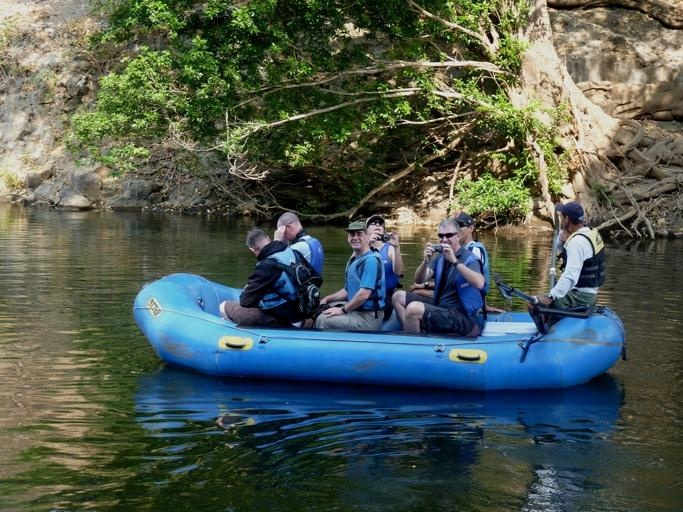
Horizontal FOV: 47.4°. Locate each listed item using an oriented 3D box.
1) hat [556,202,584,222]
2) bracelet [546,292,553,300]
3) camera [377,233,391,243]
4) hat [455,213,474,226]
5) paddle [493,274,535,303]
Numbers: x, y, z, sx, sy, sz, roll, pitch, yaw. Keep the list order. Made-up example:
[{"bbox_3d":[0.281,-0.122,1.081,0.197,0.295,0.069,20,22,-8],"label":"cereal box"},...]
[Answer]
[{"bbox_3d":[2.376,-0.469,8.084,0.266,0.211,0.372,-2,-1,13],"label":"hat"},{"bbox_3d":[2.137,0.392,7.960,0.041,0.046,0.076,17,-22,-16],"label":"bracelet"},{"bbox_3d":[0.459,-0.206,8.515,0.169,0.067,0.200,0,4,0],"label":"camera"},{"bbox_3d":[1.315,-0.392,8.290,0.241,0.081,0.137,14,-6,-22],"label":"hat"},{"bbox_3d":[1.744,0.324,7.807,0.517,0.083,0.228,15,-24,19],"label":"paddle"}]
